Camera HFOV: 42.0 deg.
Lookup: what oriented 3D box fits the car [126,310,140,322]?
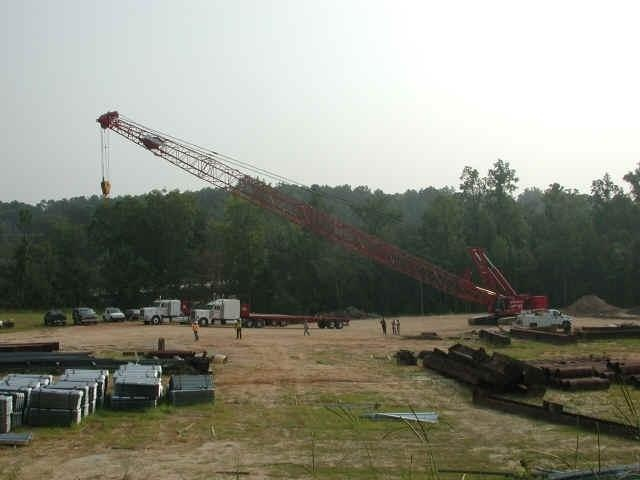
[{"bbox_3d":[-16.456,6.629,73.838,1.166,0.994,1.823,0,4,-42],"label":"car"}]

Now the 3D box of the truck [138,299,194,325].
[{"bbox_3d":[-13.300,6.226,71.581,4.014,1.945,2.149,4,-8,-35],"label":"truck"}]

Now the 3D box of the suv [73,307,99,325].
[{"bbox_3d":[-19.361,6.261,68.212,1.413,1.215,2.463,1,-7,-31],"label":"suv"}]

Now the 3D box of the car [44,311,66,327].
[{"bbox_3d":[-21.248,6.331,66.893,1.465,1.185,2.283,1,-4,-24],"label":"car"}]

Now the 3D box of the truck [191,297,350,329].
[{"bbox_3d":[-4.367,6.801,77.258,10.503,2.393,2.555,2,-4,-3],"label":"truck"}]

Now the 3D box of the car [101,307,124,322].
[{"bbox_3d":[-17.855,6.529,72.312,1.589,1.117,1.992,1,-4,-20],"label":"car"}]

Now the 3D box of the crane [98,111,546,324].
[{"bbox_3d":[-2.056,-2.674,81.196,51.296,16.444,8.032,14,28,28],"label":"crane"}]

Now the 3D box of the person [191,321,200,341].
[{"bbox_3d":[-8.715,6.397,58.451,0.461,1.600,1.500,2,-1,3],"label":"person"}]

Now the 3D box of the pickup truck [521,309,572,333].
[{"bbox_3d":[15.877,5.948,59.251,4.425,1.694,1.634,-2,-3,38],"label":"pickup truck"}]

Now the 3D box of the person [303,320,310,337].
[{"bbox_3d":[-1.061,6.823,64.497,0.500,1.029,1.870,-3,-10,-5],"label":"person"}]
